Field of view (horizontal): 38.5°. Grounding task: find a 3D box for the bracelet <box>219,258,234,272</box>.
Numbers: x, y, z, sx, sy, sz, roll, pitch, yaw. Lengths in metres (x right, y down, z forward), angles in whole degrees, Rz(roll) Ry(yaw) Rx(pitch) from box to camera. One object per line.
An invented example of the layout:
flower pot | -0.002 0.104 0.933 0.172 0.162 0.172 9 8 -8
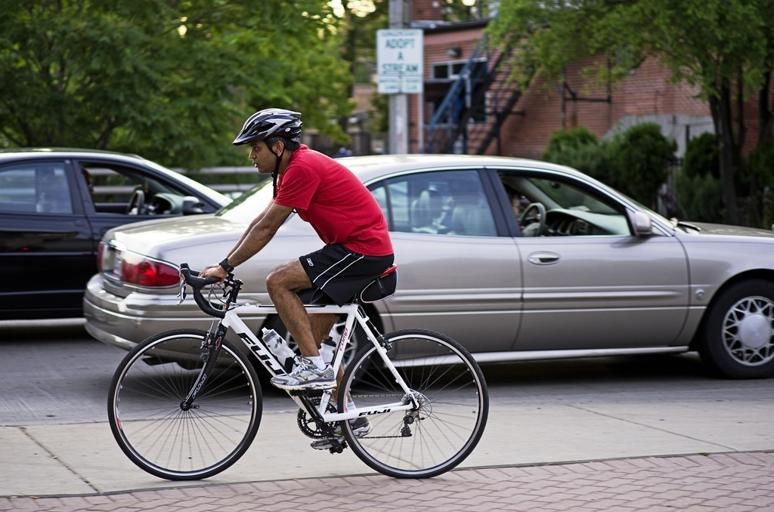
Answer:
bracelet | -1.213 0.075 8.504 0.057 0.093 0.120 -50 5 -13

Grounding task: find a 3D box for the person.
person | -0.593 0.134 8.657 1.272 2.516 0.716 1 16 0

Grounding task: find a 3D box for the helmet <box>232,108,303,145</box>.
helmet | -0.914 -1.001 8.584 0.509 0.158 0.296 -5 11 -14
